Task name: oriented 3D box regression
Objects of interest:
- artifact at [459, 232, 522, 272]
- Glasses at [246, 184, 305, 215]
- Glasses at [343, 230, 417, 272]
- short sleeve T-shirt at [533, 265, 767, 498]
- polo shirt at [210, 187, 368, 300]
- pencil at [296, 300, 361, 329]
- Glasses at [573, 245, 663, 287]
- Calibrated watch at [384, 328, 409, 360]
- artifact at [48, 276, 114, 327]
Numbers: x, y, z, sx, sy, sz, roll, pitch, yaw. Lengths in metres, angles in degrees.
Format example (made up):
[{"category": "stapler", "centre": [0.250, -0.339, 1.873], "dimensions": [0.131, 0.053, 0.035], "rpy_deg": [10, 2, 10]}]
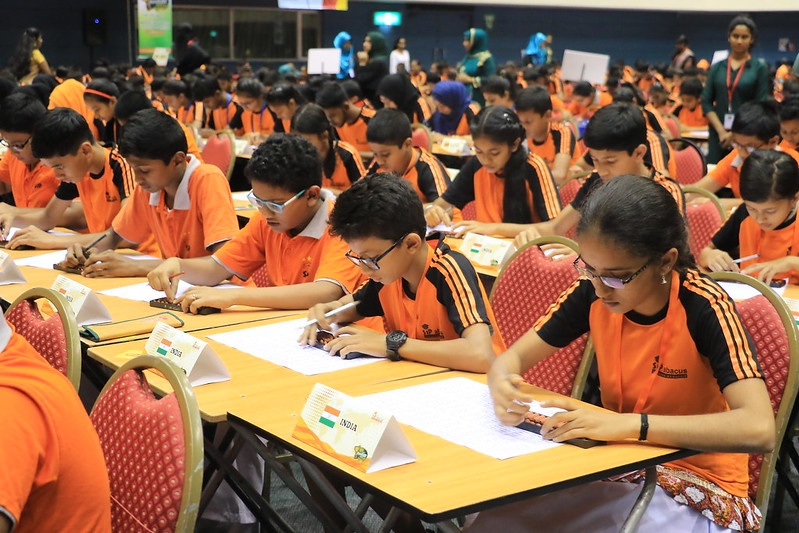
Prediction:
[{"category": "artifact", "centre": [0.446, -0.089, 3.232], "dimensions": [0.188, 0.089, 0.249], "rpy_deg": [-16, 20, -41]}, {"category": "Glasses", "centre": [-0.519, -0.255, 2.575], "dimensions": [0.124, 0.036, 0.129], "rpy_deg": [19, 38, 36]}, {"category": "Glasses", "centre": [-0.066, -0.036, 2.043], "dimensions": [0.145, 0.039, 0.139], "rpy_deg": [-38, 10, -19]}, {"category": "short sleeve T-shirt", "centre": [0.800, 0.353, 1.933], "dimensions": [0.415, 0.667, 0.800], "rpy_deg": [2, -4, -28]}, {"category": "polo shirt", "centre": [-0.478, -0.065, 2.782], "dimensions": [0.805, 0.524, 0.428], "rpy_deg": [7, 9, 33]}, {"category": "pencil", "centre": [-0.262, 0.185, 2.343], "dimensions": [0.175, 0.023, 0.020], "rpy_deg": [-29, -22, -8]}, {"category": "Glasses", "centre": [0.586, 0.008, 1.674], "dimensions": [0.112, 0.034, 0.112], "rpy_deg": [-8, 31, -37]}, {"category": "Calibrated watch", "centre": [-0.010, 0.261, 2.115], "dimensions": [0.073, 0.081, 0.087], "rpy_deg": [-1, 41, 23]}, {"category": "artifact", "centre": [-1.240, 0.174, 2.407], "dimensions": [0.169, 0.183, 0.318], "rpy_deg": [-5, 11, -39]}]
